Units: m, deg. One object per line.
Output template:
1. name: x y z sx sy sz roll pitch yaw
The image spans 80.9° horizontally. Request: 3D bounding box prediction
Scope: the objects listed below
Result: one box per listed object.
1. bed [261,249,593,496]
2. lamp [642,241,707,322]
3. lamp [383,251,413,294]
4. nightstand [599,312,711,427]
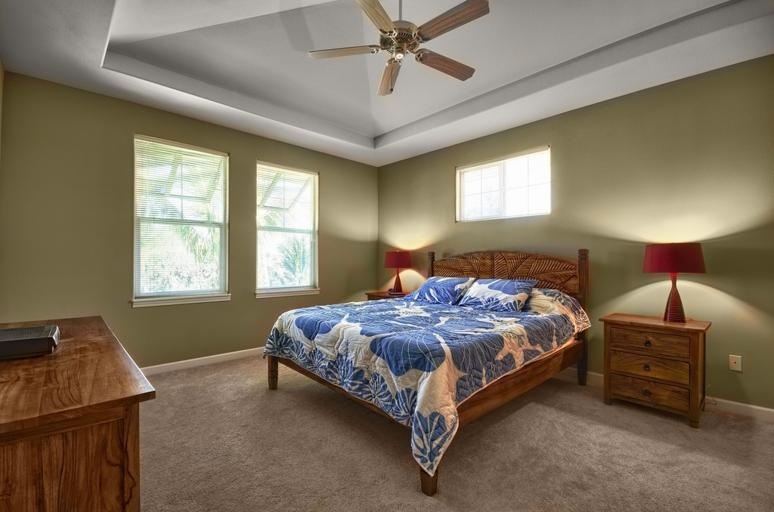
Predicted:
1. bed: 0.499 0.873 5.024 3.217 1.911 3.019 1 1 23
2. lamp: 2.850 0.279 4.504 0.511 0.755 0.518 1 -5 14
3. lamp: 0.157 0.264 6.759 0.402 0.613 0.403 0 3 -24
4. nightstand: 2.724 1.086 4.622 0.609 0.962 0.918 -10 10 -44
